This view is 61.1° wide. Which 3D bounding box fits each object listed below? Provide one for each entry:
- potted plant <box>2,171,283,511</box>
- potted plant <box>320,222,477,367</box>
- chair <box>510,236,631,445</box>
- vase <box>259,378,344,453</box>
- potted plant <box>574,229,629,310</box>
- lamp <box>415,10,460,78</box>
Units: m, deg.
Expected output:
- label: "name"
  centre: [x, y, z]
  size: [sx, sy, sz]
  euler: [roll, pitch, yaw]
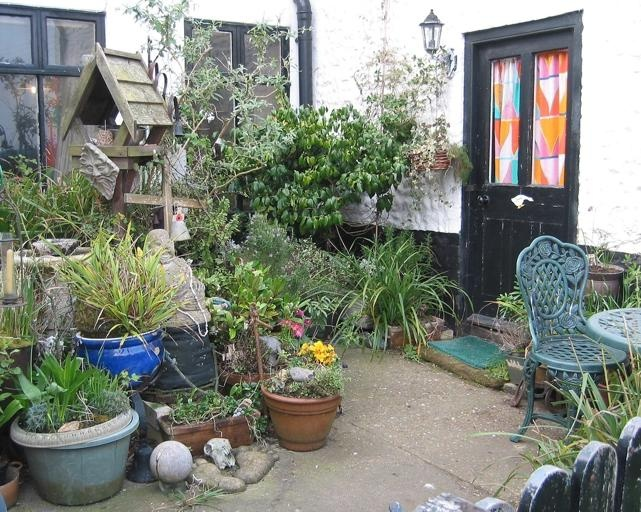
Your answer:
- label: "potted plant"
  centre: [-1.213, 0.448, 4.327]
  size: [1.762, 2.510, 2.165]
  euler: [1, -7, -6]
- label: "potted plant"
  centre: [0.763, 0.318, 5.445]
  size: [1.139, 0.999, 1.074]
  euler: [-8, 14, -35]
- label: "chair"
  centre: [1.601, 0.561, 3.574]
  size: [0.643, 1.316, 0.870]
  euler: [4, 12, 21]
- label: "vase"
  centre: [-0.125, 0.998, 3.478]
  size: [0.378, 0.306, 0.415]
  euler: [0, -1, -2]
- label: "potted plant"
  centre: [2.174, 0.112, 4.177]
  size: [0.349, 0.451, 0.427]
  euler: [1, -8, 2]
- label: "lamp"
  centre: [1.163, -2.080, 5.327]
  size: [0.371, 0.641, 0.185]
  euler: [2, 11, 10]
